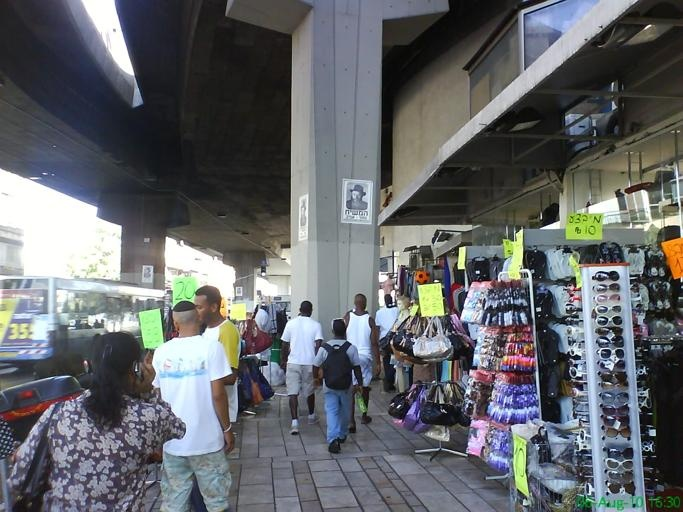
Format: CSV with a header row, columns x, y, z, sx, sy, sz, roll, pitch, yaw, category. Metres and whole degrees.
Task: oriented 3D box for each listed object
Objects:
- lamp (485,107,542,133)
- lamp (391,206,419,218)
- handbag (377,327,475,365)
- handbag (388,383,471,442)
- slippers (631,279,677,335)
x,y,z,sx,sy,sz,roll,pitch,yaw,category
2.210,-1.767,6.723,0.613,0.213,0.617,-10,-9,-45,lamp
1.552,-1.068,12.368,0.260,0.123,0.452,-10,1,-43,lamp
1.156,1.151,6.654,0.776,0.334,0.603,0,-6,-2,handbag
1.083,1.836,6.305,0.514,0.461,0.801,-2,-1,-12,handbag
2.975,0.508,4.936,0.324,0.504,0.149,1,-7,2,slippers
